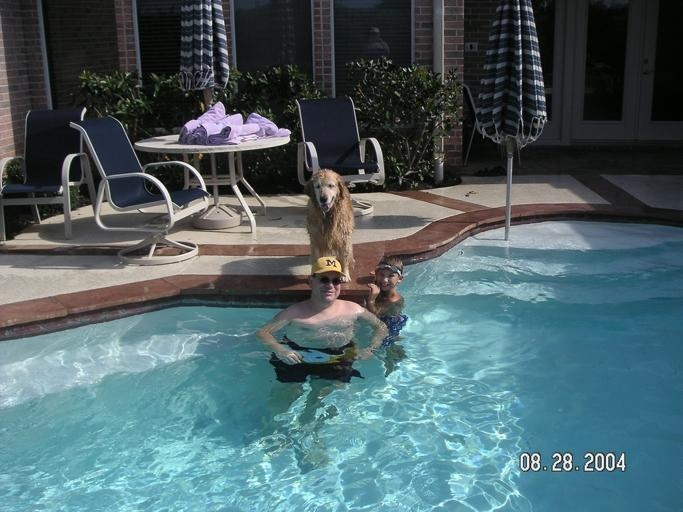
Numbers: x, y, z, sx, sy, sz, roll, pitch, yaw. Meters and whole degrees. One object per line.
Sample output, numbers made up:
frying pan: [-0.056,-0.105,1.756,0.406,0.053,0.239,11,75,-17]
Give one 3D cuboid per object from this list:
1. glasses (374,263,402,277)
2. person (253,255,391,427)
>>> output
glasses: [0.401,0.114,4.348,0.161,0.047,0.151,10,2,25]
person: [-0.101,0.472,3.814,0.969,0.823,0.722,-6,19,-8]
